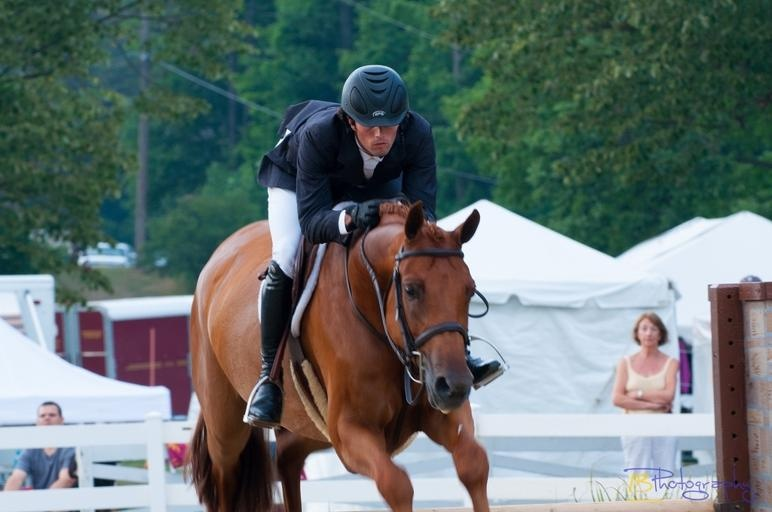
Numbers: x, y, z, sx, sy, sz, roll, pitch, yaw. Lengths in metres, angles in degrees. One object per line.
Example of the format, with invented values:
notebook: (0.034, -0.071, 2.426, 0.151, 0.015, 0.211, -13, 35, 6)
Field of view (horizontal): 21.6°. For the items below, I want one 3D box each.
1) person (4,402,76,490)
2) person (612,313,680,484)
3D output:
person: (-6.675, 3.692, 39.277, 1.298, 1.669, 0.389, -2, -4, -12)
person: (5.076, 2.729, 39.305, 1.221, 3.150, 0.531, -3, -4, 6)
